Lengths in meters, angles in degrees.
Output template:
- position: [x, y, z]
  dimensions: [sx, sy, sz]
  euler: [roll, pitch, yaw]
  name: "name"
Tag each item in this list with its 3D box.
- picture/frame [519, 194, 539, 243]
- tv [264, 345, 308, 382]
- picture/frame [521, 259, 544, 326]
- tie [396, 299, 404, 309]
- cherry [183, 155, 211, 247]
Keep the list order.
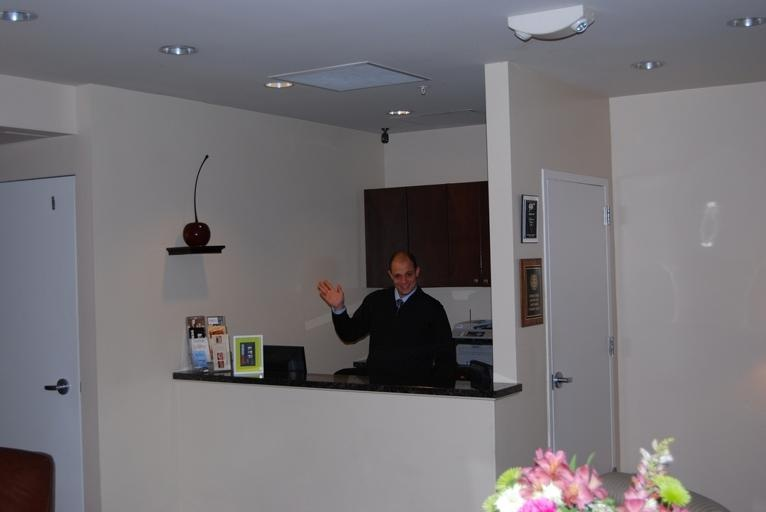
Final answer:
- position: [1.034, -0.259, 4.145]
  dimensions: [0.013, 0.328, 0.237]
  euler: [3, 5, 43]
  name: "picture/frame"
- position: [-0.729, 0.791, 4.360]
  dimensions: [0.308, 0.228, 0.492]
  euler: [-1, -6, -12]
  name: "tv"
- position: [1.038, 0.257, 4.124]
  dimensions: [0.057, 0.625, 0.468]
  euler: [-1, 1, 32]
  name: "picture/frame"
- position: [0.118, 0.358, 4.399]
  dimensions: [0.043, 0.063, 0.023]
  euler: [-2, -12, 20]
  name: "tie"
- position: [-1.497, -0.450, 4.711]
  dimensions: [0.205, 0.762, 0.208]
  euler: [-9, -11, 25]
  name: "cherry"
